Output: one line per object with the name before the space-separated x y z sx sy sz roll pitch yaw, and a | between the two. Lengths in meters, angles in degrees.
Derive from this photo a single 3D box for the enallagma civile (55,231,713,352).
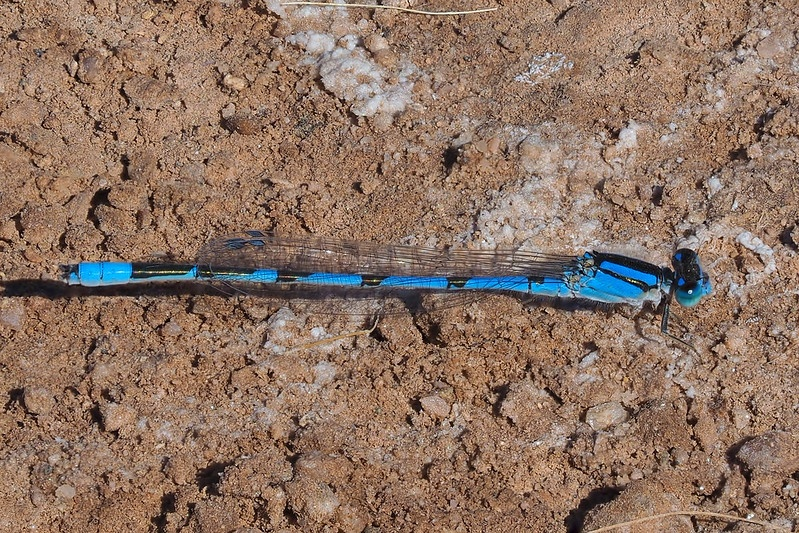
enallagma civile | 0.059 0.257 9.240 5.995 0.856 1.117 1 -63 -8
